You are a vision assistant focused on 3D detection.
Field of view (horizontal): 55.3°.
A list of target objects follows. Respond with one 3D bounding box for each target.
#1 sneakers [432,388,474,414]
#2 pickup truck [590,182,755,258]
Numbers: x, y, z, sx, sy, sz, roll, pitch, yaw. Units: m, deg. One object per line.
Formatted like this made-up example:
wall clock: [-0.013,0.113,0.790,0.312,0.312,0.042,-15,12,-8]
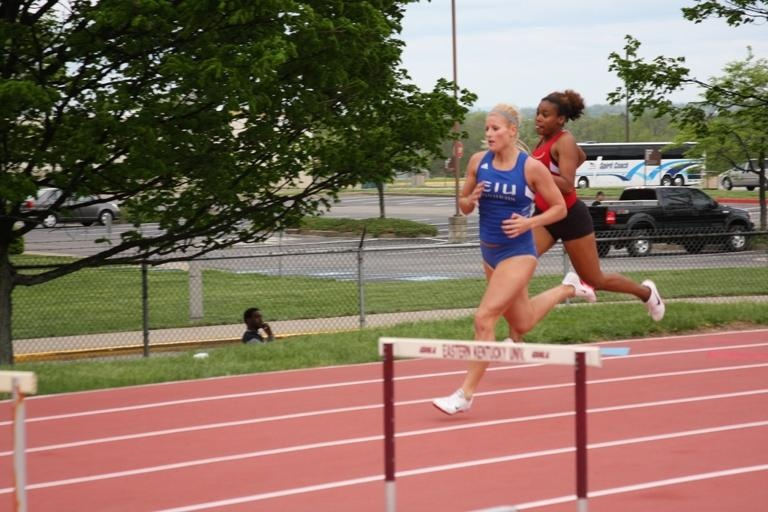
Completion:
sneakers: [0.754,1.503,7.542,0.475,0.178,0.201,-2,45,-30]
pickup truck: [8.710,-1.161,23.957,8.096,1.943,3.103,-3,4,-24]
